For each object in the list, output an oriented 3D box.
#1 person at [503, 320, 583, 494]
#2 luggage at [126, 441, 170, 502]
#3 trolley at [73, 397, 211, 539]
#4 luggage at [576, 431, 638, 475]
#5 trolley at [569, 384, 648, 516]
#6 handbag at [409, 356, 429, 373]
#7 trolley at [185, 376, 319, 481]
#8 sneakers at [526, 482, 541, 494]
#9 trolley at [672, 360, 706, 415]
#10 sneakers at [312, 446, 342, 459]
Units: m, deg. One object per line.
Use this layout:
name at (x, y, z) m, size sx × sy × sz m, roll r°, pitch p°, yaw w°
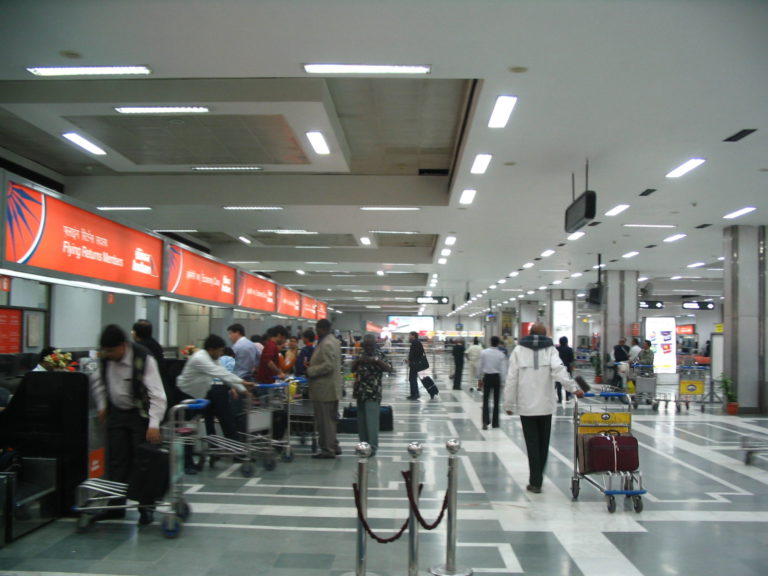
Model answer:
person at (1.928, 1.542, 7.165) m, size 0.825 × 1.899 × 0.365 m, roll 0°, pitch -9°, yaw 9°
luggage at (-2.420, 1.886, 5.917) m, size 0.354 × 0.607 × 0.174 m, roll 5°, pitch -10°, yaw -24°
trolley at (-2.587, 1.880, 6.131) m, size 1.267 × 1.171 × 0.796 m, roll 2°, pitch -14°, yaw -10°
luggage at (2.669, 1.950, 6.980) m, size 0.688 × 0.476 × 0.501 m, roll 3°, pitch -13°, yaw 1°
trolley at (2.653, 1.859, 6.742) m, size 0.755 × 1.214 × 1.060 m, roll 0°, pitch -4°, yaw 6°
handbag at (0.912, 2.001, 15.495) m, size 0.527 × 0.464 × 0.349 m, roll 3°, pitch -9°, yaw -10°
trolley at (-1.964, 1.981, 8.046) m, size 1.374 × 0.970 × 1.352 m, roll 1°, pitch 2°, yaw 5°
sneakers at (1.829, 2.448, 7.110) m, size 0.077 × 0.076 × 0.187 m, roll -1°, pitch 4°, yaw -32°
trolley at (7.888, 2.582, 14.937) m, size 0.903 × 1.110 × 0.975 m, roll 7°, pitch 15°, yaw 42°
sneakers at (-0.856, 2.417, 8.569) m, size 0.425 × 0.166 × 0.147 m, roll 2°, pitch 0°, yaw 0°
